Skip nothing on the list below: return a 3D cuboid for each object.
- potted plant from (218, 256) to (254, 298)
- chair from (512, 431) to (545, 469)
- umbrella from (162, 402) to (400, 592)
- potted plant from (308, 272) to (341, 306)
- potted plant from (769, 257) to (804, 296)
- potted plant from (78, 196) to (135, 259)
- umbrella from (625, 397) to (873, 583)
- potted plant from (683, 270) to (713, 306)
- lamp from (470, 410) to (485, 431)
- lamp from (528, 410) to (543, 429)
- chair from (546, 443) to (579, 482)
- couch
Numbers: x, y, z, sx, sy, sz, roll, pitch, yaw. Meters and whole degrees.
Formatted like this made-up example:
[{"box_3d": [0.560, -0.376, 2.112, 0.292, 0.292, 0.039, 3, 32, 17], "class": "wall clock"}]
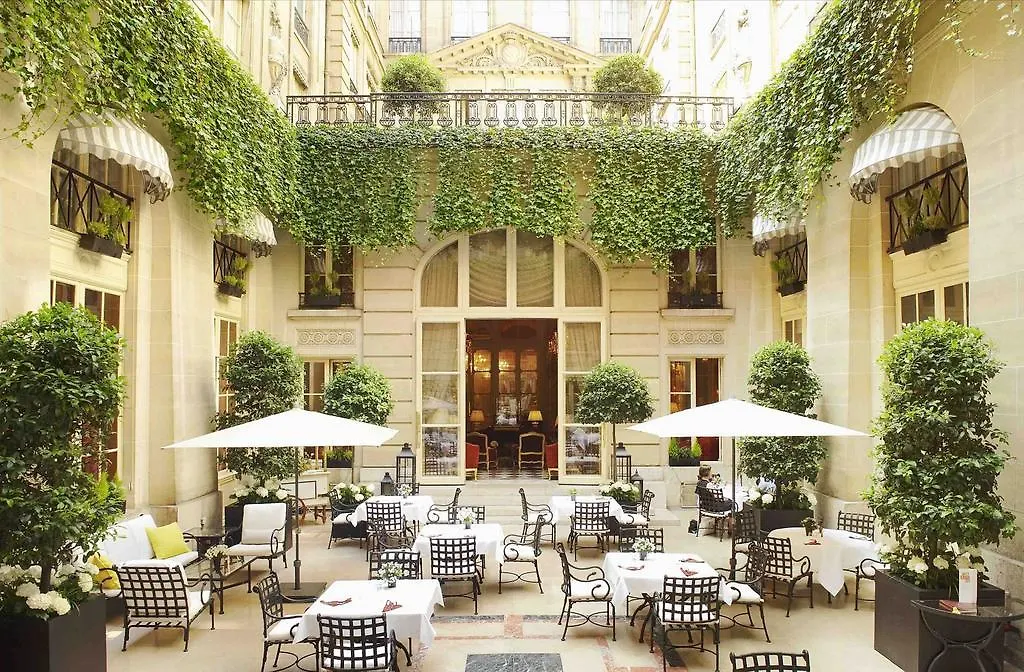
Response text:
[{"box_3d": [-6.699, -1.471, 21.115, 0.405, 1.065, 1.032, 1, -4, 15], "class": "potted plant"}, {"box_3d": [0.593, 3.309, 25.738, 0.951, 1.468, 0.909, 1, 2, 4], "class": "chair"}, {"box_3d": [-4.037, 2.841, 16.597, 3.421, 3.256, 3.635, 6, 2, 42], "class": "umbrella"}, {"box_3d": [-4.830, -1.100, 22.996, 1.085, 1.093, 0.751, 0, -6, -7], "class": "potted plant"}, {"box_3d": [6.738, -1.523, 21.477, 0.365, 0.986, 1.190, 0, -8, -11], "class": "potted plant"}, {"box_3d": [-7.912, -2.142, 16.982, 0.471, 1.153, 1.135, 12, -8, 12], "class": "potted plant"}, {"box_3d": [4.010, 2.200, 15.713, 3.004, 2.042, 2.877, -2, 2, 8], "class": "umbrella"}, {"box_3d": [4.897, -1.267, 23.134, 0.812, 0.820, 0.456, 1, -17, -2], "class": "potted plant"}, {"box_3d": [-1.147, 2.786, 28.954, 0.519, 0.598, 0.495, -4, -6, 19], "class": "lamp"}, {"box_3d": [0.758, 2.754, 28.725, 0.495, 0.549, 0.462, -1, 0, 13], "class": "lamp"}, {"box_3d": [1.321, 3.338, 23.352, 0.711, 0.947, 0.739, 0, -1, 9], "class": "chair"}, {"box_3d": [-6.716, 4.041, 16.513, 1.198, 1.265, 2.749, -11, -6, -12], "class": "couch"}]
